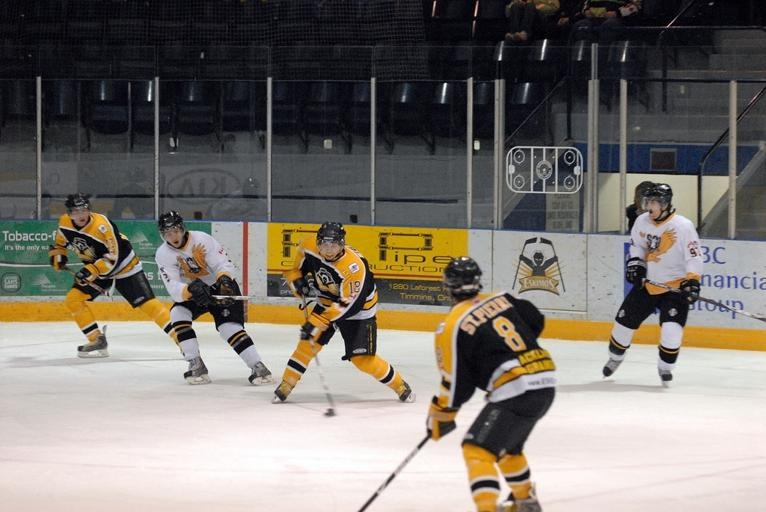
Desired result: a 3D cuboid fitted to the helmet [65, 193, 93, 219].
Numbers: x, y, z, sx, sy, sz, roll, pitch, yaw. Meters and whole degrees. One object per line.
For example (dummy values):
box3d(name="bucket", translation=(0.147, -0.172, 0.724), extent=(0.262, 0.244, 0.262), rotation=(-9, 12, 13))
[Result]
box3d(name="helmet", translation=(-3.006, -0.488, 10.855), extent=(0.274, 0.299, 0.323), rotation=(-3, 4, -16))

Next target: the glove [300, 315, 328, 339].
box3d(name="glove", translation=(-0.581, 0.602, 9.334), extent=(0.224, 0.220, 0.152), rotation=(-1, 14, -6))

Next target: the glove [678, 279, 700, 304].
box3d(name="glove", translation=(2.747, 0.313, 9.870), extent=(0.176, 0.177, 0.206), rotation=(3, 14, 11))

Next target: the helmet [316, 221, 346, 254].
box3d(name="helmet", translation=(-0.433, -0.141, 9.333), extent=(0.246, 0.277, 0.211), rotation=(-3, 14, -12))

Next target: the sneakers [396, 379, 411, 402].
box3d(name="sneakers", translation=(0.185, 1.183, 9.606), extent=(0.134, 0.176, 0.086), rotation=(-33, -8, 26))

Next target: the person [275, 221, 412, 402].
box3d(name="person", translation=(-0.418, 0.506, 9.476), extent=(1.154, 1.601, 0.701), rotation=(8, 17, 30))

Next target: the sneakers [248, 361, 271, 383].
box3d(name="sneakers", translation=(-1.111, 1.084, 10.048), extent=(0.161, 0.177, 0.221), rotation=(1, -11, -14))

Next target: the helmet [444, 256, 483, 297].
box3d(name="helmet", translation=(0.532, 0.145, 7.538), extent=(0.240, 0.255, 0.290), rotation=(-1, 3, 1))

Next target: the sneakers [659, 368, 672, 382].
box3d(name="sneakers", translation=(2.572, 1.098, 10.033), extent=(0.101, 0.123, 0.126), rotation=(-4, -37, 1))

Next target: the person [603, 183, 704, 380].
box3d(name="person", translation=(2.483, 0.274, 10.088), extent=(0.797, 1.838, 0.607), rotation=(4, 15, 15))

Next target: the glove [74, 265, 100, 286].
box3d(name="glove", translation=(-2.926, 0.214, 10.880), extent=(0.251, 0.168, 0.238), rotation=(-21, -14, -22))

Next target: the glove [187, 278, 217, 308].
box3d(name="glove", translation=(-1.583, 0.322, 9.648), extent=(0.184, 0.249, 0.086), rotation=(-37, -15, -44))

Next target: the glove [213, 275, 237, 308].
box3d(name="glove", translation=(-1.397, 0.307, 9.827), extent=(0.223, 0.263, 0.101), rotation=(-3, -5, 8))

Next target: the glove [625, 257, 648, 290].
box3d(name="glove", translation=(2.348, 0.154, 10.164), extent=(0.204, 0.251, 0.116), rotation=(-3, -9, 34))

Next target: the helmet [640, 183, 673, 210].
box3d(name="helmet", translation=(2.500, -0.550, 10.115), extent=(0.300, 0.276, 0.238), rotation=(4, 2, 7))

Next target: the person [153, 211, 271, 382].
box3d(name="person", translation=(-1.543, 0.415, 9.922), extent=(0.615, 1.593, 0.774), rotation=(-13, 19, -40))
